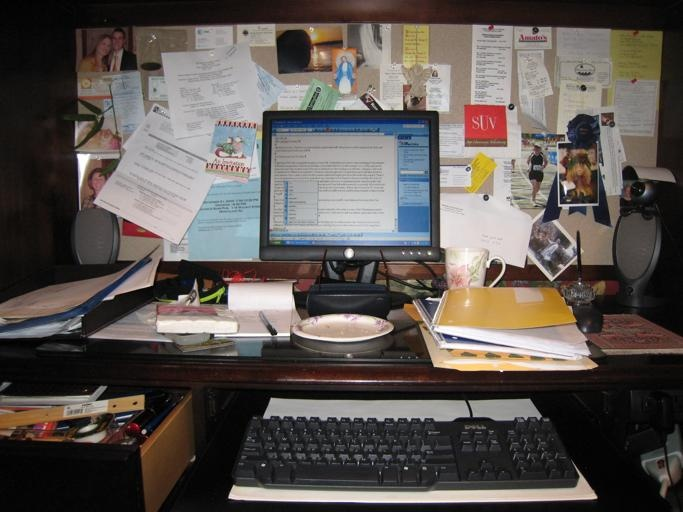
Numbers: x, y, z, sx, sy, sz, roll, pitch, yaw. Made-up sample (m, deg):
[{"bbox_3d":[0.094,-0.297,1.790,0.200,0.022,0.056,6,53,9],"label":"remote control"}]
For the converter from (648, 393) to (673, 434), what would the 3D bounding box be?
[{"bbox_3d":[0.608,0.297,1.026,0.031,0.086,0.061,4,-15,1],"label":"converter"}]

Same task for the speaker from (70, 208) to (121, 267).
[{"bbox_3d":[-0.627,-0.048,1.351,0.115,0.141,0.049,1,4,-9],"label":"speaker"}]

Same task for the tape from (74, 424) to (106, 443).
[{"bbox_3d":[-0.467,0.331,1.009,0.039,0.013,0.037,3,17,-2],"label":"tape"}]

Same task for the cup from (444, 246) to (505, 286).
[{"bbox_3d":[0.315,0.037,1.283,0.147,0.095,0.093,6,8,27],"label":"cup"}]

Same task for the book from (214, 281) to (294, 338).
[{"bbox_3d":[-0.181,0.114,1.258,0.181,0.048,0.219,-1,27,1],"label":"book"}]

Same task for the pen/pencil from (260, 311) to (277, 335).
[{"bbox_3d":[-0.166,0.146,1.180,0.019,0.017,0.127,-18,17,-13],"label":"pen/pencil"}]

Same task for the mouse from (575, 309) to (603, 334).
[{"bbox_3d":[0.522,0.137,1.139,0.057,0.047,0.053,0,-5,13],"label":"mouse"}]

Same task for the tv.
[{"bbox_3d":[0.018,-0.128,1.307,0.581,0.547,0.240,0,-1,2],"label":"tv"}]

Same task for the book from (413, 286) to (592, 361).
[{"bbox_3d":[0.323,0.138,1.066,0.191,0.042,0.183,1,19,4],"label":"book"}]
